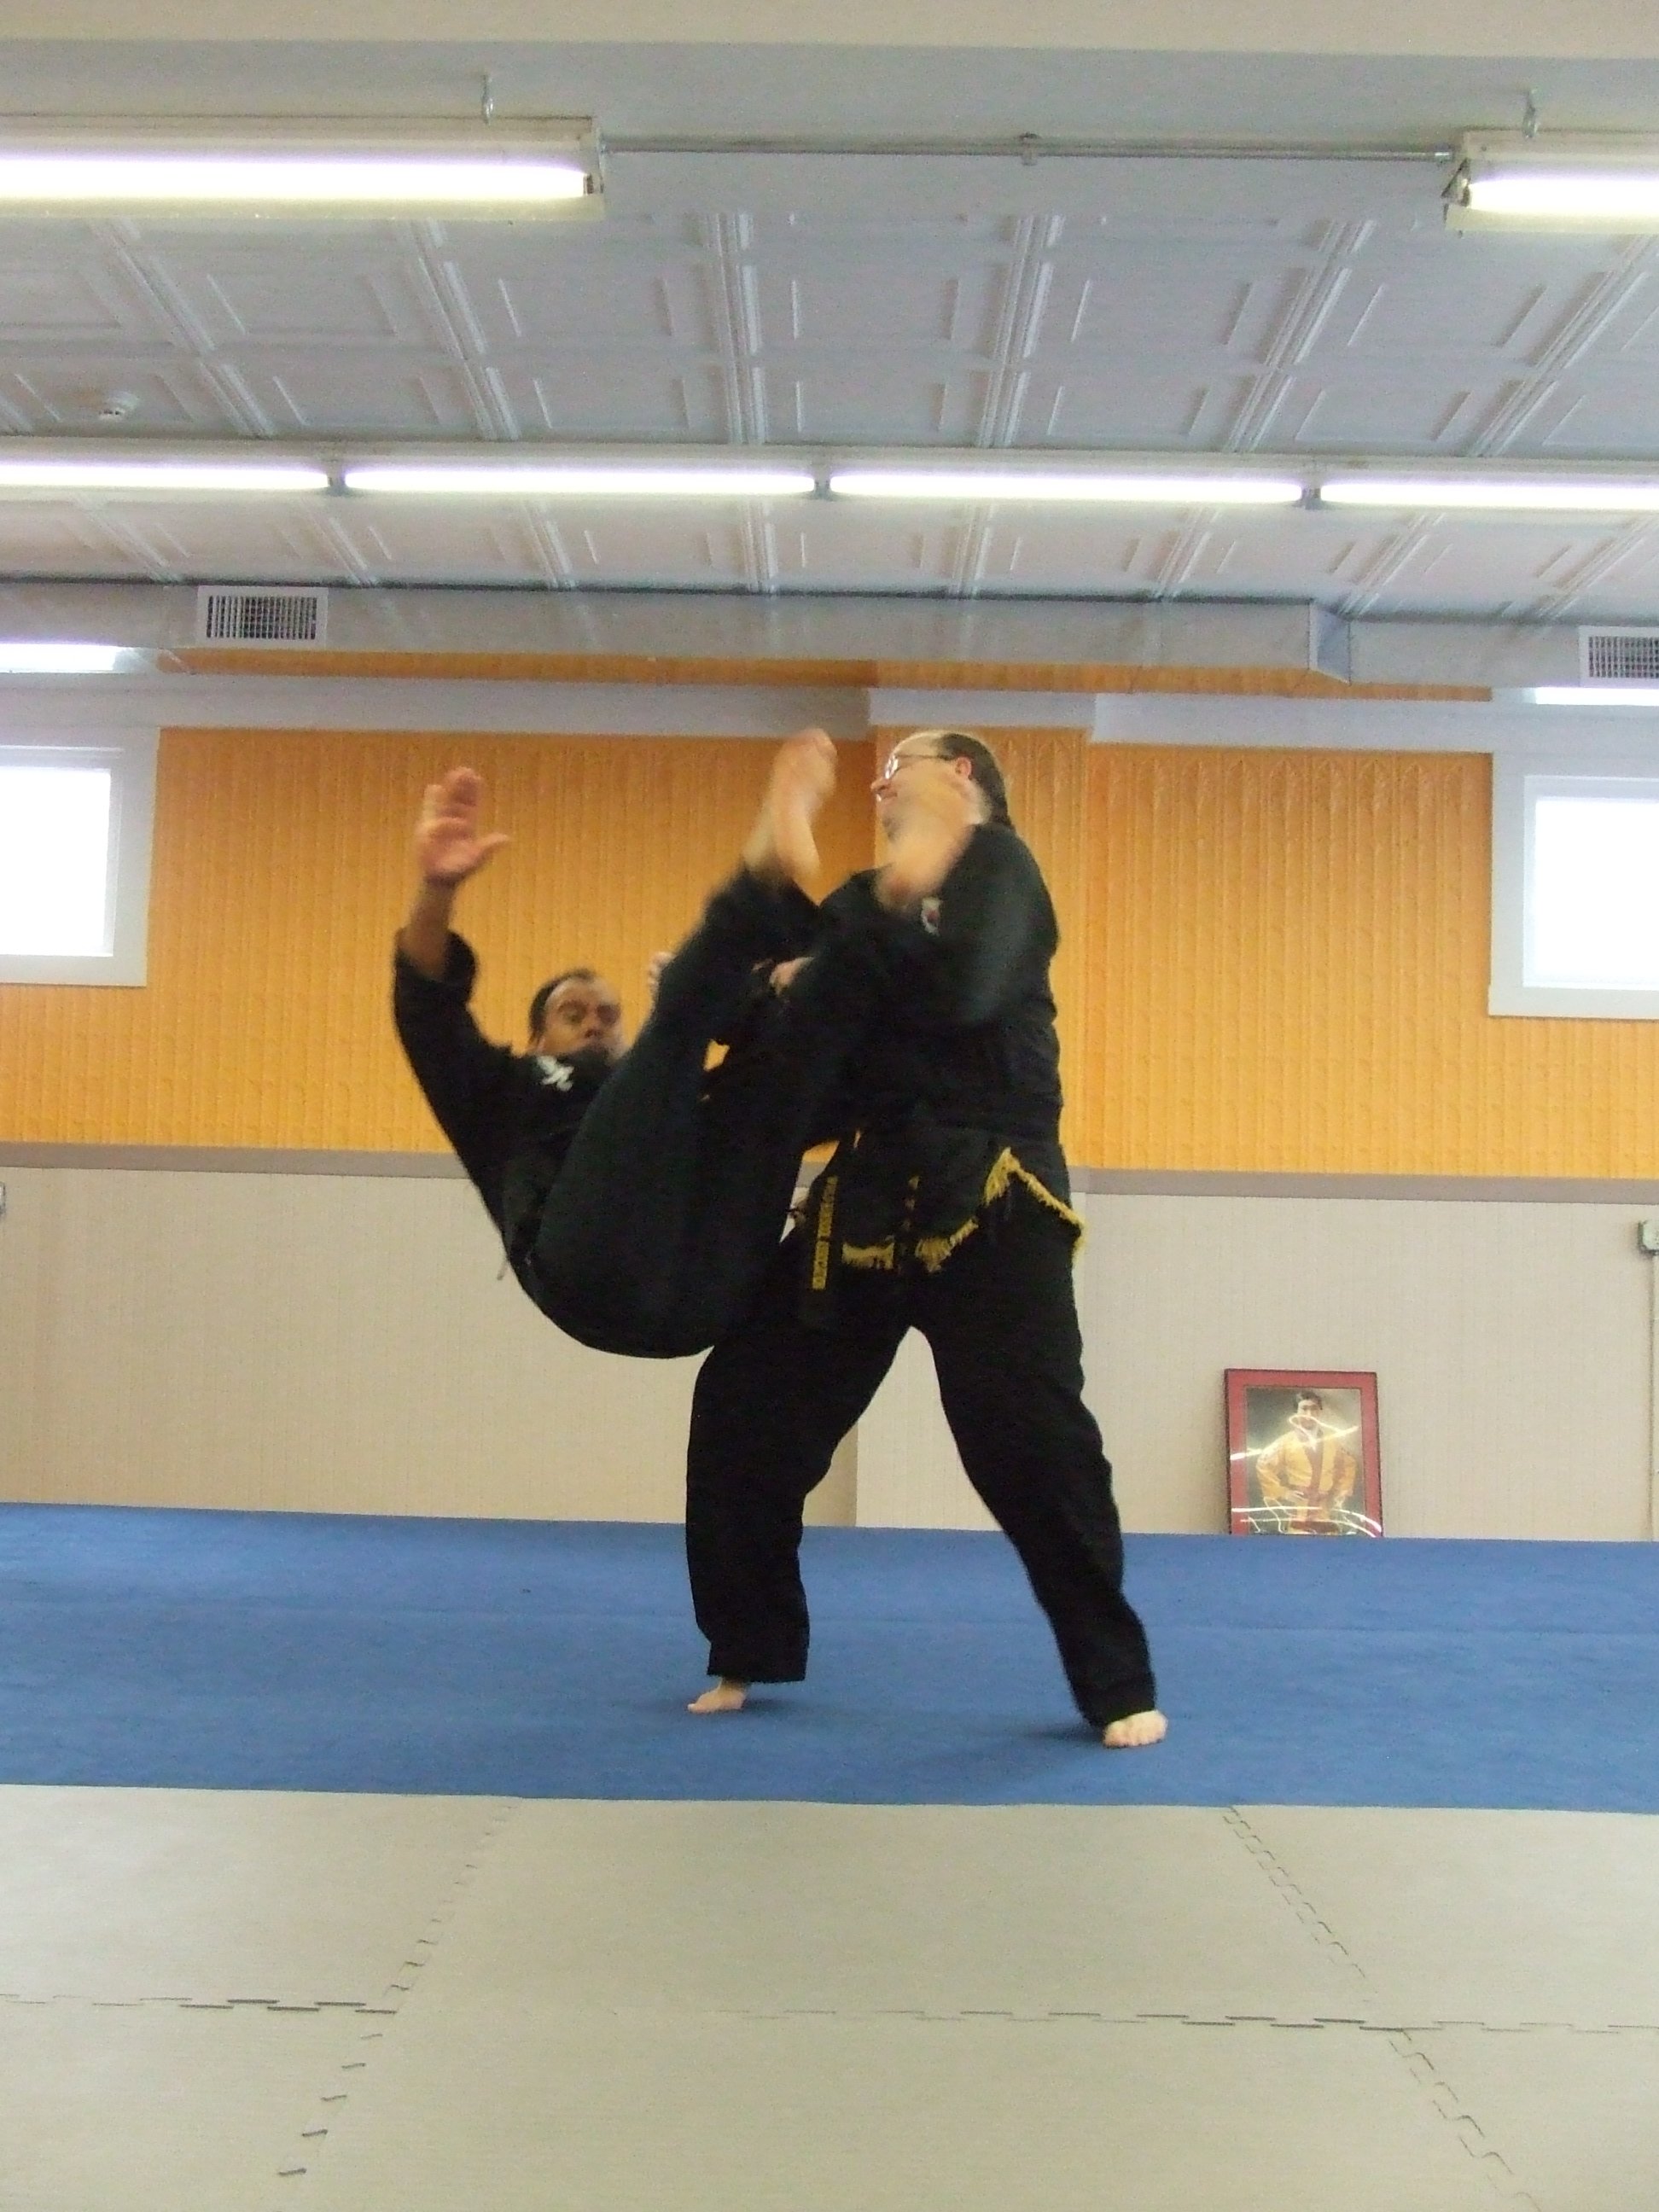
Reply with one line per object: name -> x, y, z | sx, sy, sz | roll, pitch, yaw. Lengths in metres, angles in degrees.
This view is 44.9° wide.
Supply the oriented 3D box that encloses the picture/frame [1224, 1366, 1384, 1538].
picture/frame -> 0.840, 0.597, 3.545 | 0.379, 0.352, 0.015 | -1, 8, -13
